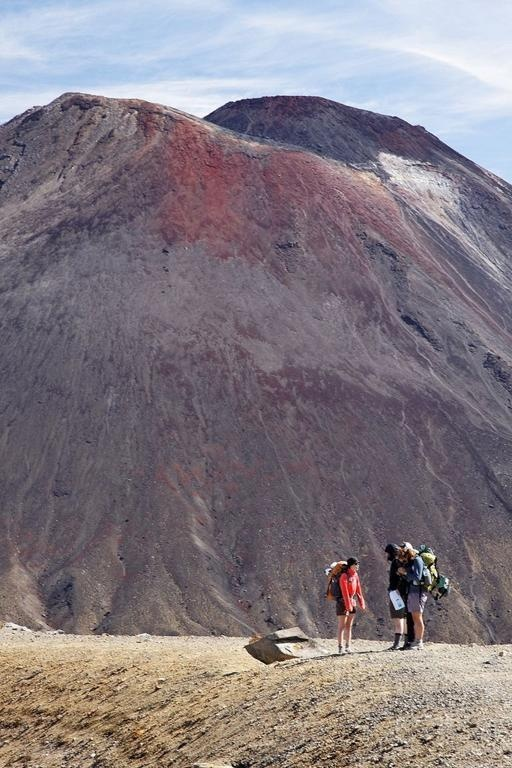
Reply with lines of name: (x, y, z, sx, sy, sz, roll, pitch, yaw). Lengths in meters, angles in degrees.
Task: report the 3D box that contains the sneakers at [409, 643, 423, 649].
sneakers: (2.087, 3.425, 10.237, 0.172, 0.105, 0.076, 7, -13, -17)
